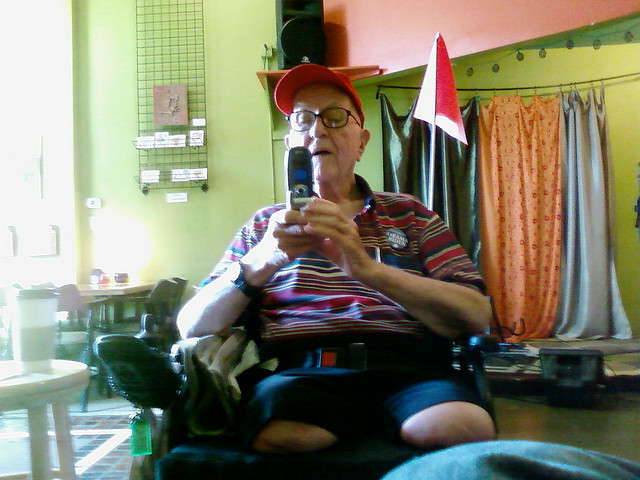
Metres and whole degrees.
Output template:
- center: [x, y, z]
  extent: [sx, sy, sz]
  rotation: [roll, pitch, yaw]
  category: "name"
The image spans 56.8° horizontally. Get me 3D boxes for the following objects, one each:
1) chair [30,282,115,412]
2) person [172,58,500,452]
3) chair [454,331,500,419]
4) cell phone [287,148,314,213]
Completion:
- center: [-1.997, 0.753, 4.688]
  extent: [0.487, 0.541, 0.412]
  rotation: [4, 5, -27]
  category: "chair"
- center: [0.134, 0.022, 2.597]
  extent: [1.343, 1.555, 0.946]
  rotation: [11, 9, -2]
  category: "person"
- center: [0.659, 0.541, 2.438]
  extent: [0.165, 0.225, 0.308]
  rotation: [11, 8, -7]
  category: "chair"
- center: [-0.094, -0.244, 2.470]
  extent: [0.102, 0.259, 0.071]
  rotation: [1, 6, -2]
  category: "cell phone"
